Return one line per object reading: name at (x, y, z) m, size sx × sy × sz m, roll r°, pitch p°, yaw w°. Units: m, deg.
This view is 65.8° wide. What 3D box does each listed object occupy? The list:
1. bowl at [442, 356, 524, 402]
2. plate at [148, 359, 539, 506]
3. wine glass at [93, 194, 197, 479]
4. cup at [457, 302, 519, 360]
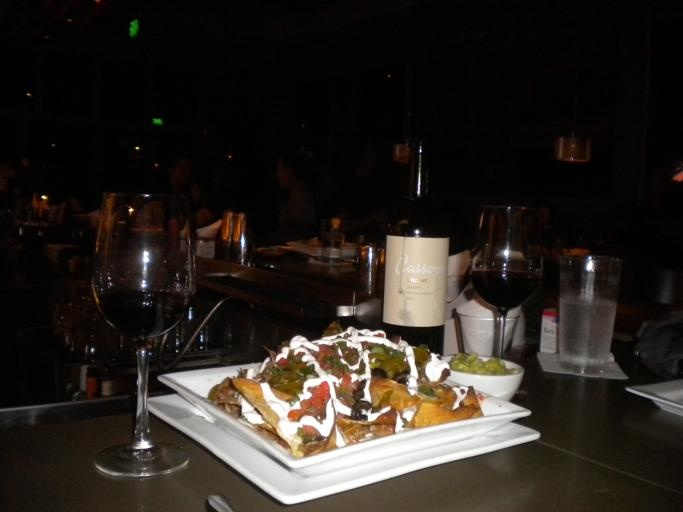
bowl at (0.230, 0.182, 0.832) m, size 0.088 × 0.037 × 0.087 m, roll 2°, pitch 1°, yaw 0°
plate at (-0.026, 0.221, 0.693) m, size 0.525 × 0.074 × 0.299 m, roll 4°, pitch 7°, yaw 21°
wine glass at (-0.252, 0.082, 0.689) m, size 0.119 × 0.324 × 0.229 m, roll -1°, pitch 8°, yaw -19°
cup at (0.277, 0.137, 1.066) m, size 0.111 × 0.118 × 0.115 m, roll 0°, pitch 3°, yaw 0°
